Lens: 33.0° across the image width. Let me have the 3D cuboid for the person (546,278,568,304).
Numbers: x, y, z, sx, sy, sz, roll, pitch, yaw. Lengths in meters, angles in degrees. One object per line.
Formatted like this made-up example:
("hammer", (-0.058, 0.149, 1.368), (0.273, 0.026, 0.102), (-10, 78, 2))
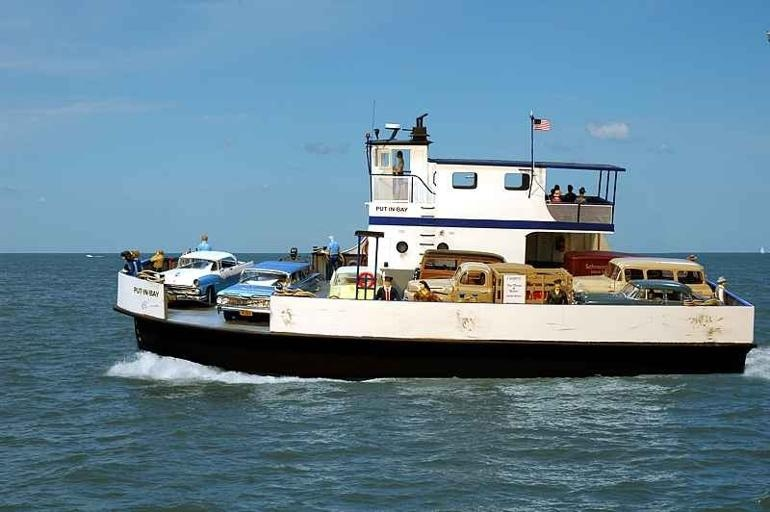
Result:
("person", (6.377, 1.325, 48.340), (0.775, 0.855, 0.310), (-3, 7, 10))

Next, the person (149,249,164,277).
("person", (-9.363, 0.210, 53.664), (0.583, 0.865, 2.511), (-5, 5, -9))

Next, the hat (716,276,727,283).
("hat", (18.093, 1.263, 70.109), (0.576, 0.436, 0.500), (-6, 0, 3))

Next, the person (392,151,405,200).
("person", (0.560, -3.278, 53.542), (0.495, 1.961, 0.916), (-4, 7, 1))

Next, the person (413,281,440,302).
("person", (1.548, 1.312, 48.279), (0.950, 0.700, 1.263), (-3, 5, 1))

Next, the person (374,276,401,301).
("person", (0.028, 1.231, 49.253), (1.113, 1.148, 0.415), (1, -4, -12))
